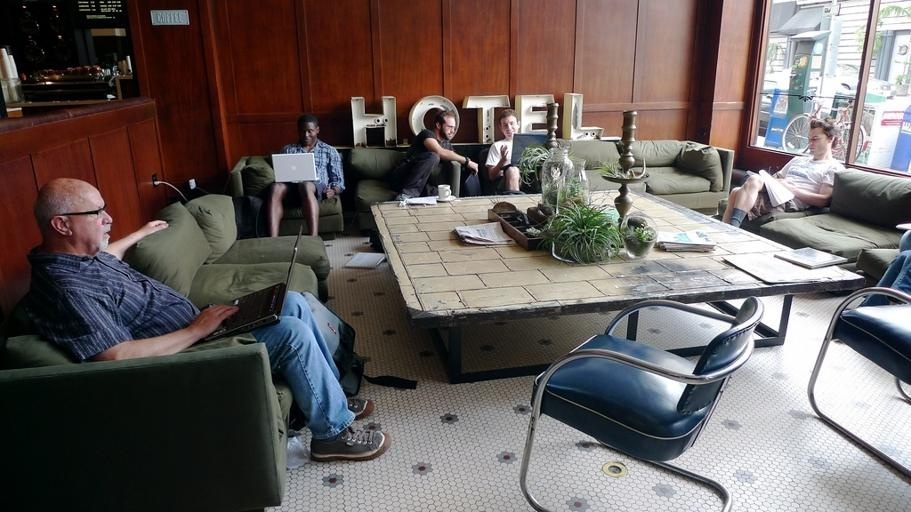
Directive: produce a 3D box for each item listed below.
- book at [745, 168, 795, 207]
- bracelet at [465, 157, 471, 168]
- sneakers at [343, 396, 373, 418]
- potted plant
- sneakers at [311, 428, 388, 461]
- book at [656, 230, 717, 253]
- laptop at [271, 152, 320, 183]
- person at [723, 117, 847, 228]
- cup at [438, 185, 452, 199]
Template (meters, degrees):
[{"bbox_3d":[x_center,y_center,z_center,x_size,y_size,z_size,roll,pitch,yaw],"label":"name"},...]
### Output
[{"bbox_3d":[3.243,-0.672,5.620,0.359,0.119,0.436,-17,59,-22],"label":"book"},{"bbox_3d":[0.139,-1.119,6.406,0.051,0.105,0.099,2,-1,-10],"label":"bracelet"},{"bbox_3d":[-0.627,1.018,3.578,0.225,0.082,0.081,-4,23,-3],"label":"sneakers"},{"bbox_3d":[0.949,-0.465,4.291,0.867,0.712,1.083,-2,16,-5],"label":"potted plant"},{"bbox_3d":[-0.637,1.162,3.396,0.517,0.190,0.183,-2,16,-8],"label":"sneakers"},{"bbox_3d":[1.749,-0.101,4.102,0.276,0.065,0.252,1,16,-2],"label":"book"},{"bbox_3d":[-1.695,-0.926,5.680,0.479,0.288,0.314,-1,28,-1],"label":"laptop"},{"bbox_3d":[3.319,-0.785,5.640,1.622,1.181,0.729,-13,22,-20],"label":"person"},{"bbox_3d":[-0.102,-0.637,5.294,0.122,0.114,0.171,2,22,-2],"label":"cup"}]
